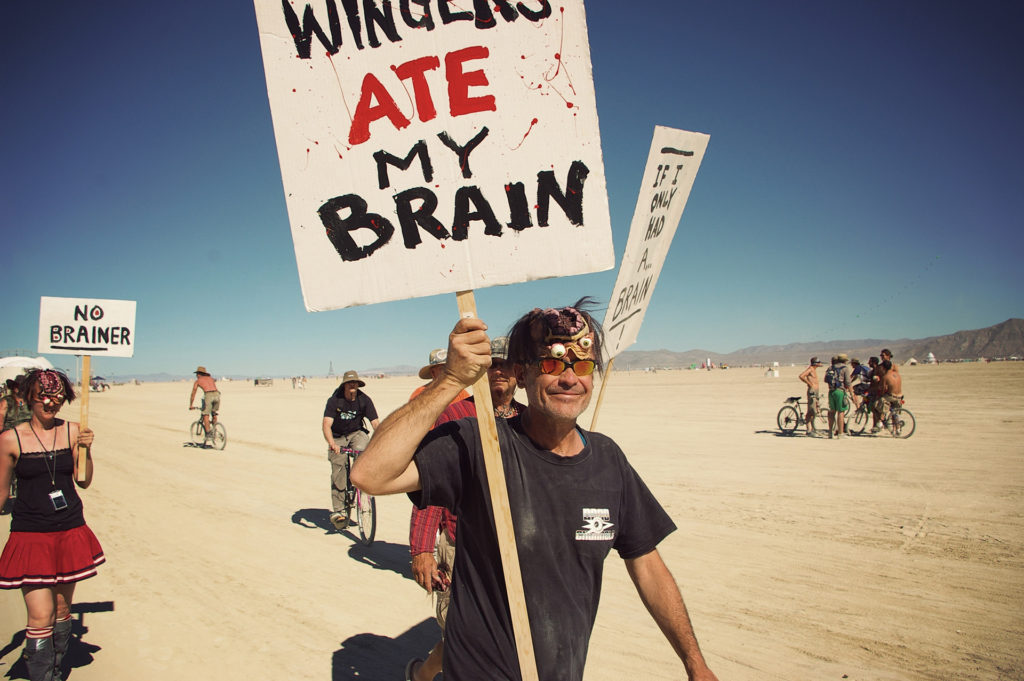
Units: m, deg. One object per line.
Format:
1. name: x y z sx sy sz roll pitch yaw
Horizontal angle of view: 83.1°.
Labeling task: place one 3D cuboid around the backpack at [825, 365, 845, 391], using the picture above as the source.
1. backpack: 8.934 1.010 15.914 0.517 0.729 0.447 0 -1 40

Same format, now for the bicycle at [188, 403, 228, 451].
1. bicycle: -9.209 2.360 17.553 1.397 0.947 0.719 -3 5 29

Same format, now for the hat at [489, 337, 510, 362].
1. hat: -0.088 0.079 4.472 0.249 0.139 0.398 1 3 -1
